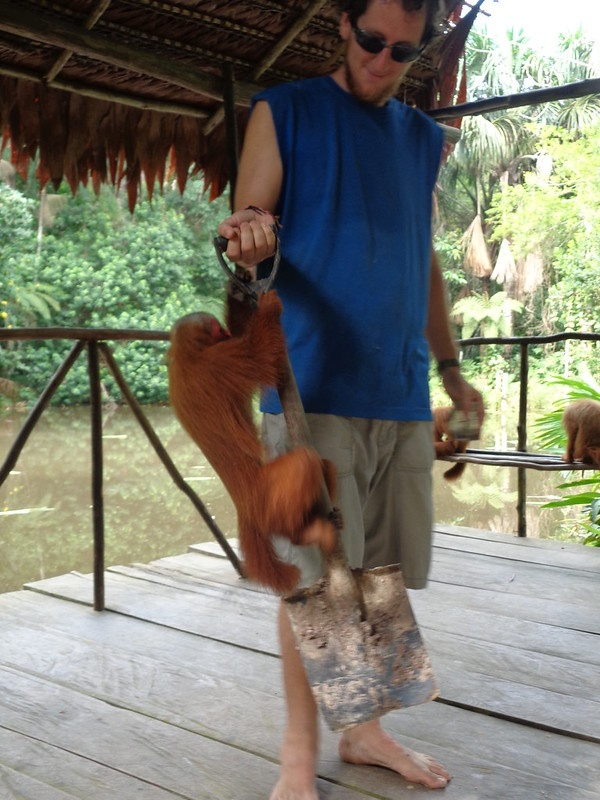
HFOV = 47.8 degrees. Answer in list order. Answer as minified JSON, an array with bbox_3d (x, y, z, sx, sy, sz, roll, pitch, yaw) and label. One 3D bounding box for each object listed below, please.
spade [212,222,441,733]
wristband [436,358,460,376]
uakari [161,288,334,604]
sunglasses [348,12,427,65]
[{"bbox_3d":[-0.014,0.183,1.130,0.274,0.896,0.128,-20,5,-30],"label":"spade"},{"bbox_3d":[0.316,-0.071,1.505,0.055,0.028,0.050,-4,-15,14],"label":"wristband"},{"bbox_3d":[-0.084,0.061,0.979,0.269,0.439,0.094,0,2,36],"label":"uakari"},{"bbox_3d":[0.151,-0.608,1.137,0.134,0.085,0.061,-1,1,-8],"label":"sunglasses"}]
